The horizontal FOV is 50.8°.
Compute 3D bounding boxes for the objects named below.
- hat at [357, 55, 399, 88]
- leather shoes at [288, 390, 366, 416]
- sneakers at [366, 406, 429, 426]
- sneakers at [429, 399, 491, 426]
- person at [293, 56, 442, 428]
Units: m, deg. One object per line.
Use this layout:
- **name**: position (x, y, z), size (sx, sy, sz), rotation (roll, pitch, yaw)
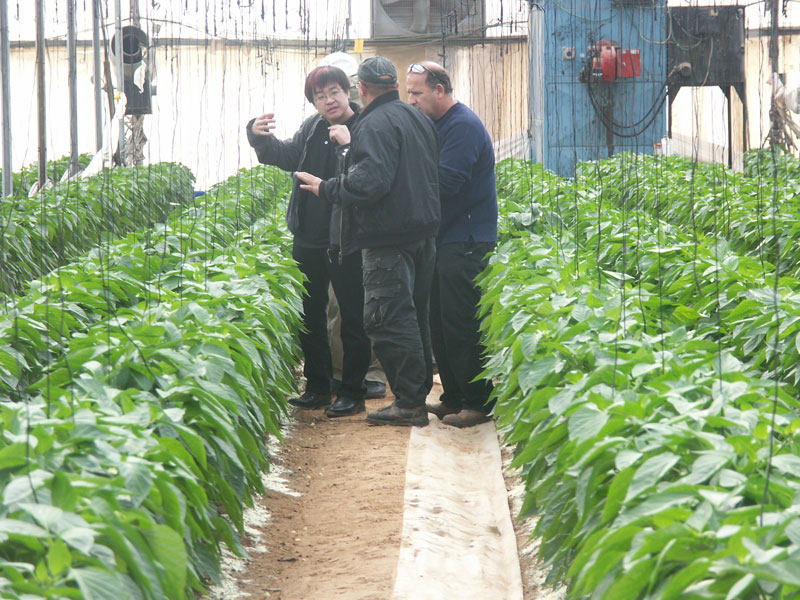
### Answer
- **hat**: position (-0.143, -1.410, 5.196), size (0.244, 0.178, 0.193), rotation (0, 12, -4)
- **leather shoes**: position (-0.505, 0.641, 5.739), size (0.499, 0.192, 0.203), rotation (4, 1, 13)
- **sneakers**: position (-0.009, 0.745, 5.377), size (0.354, 0.180, 0.151), rotation (3, 3, 4)
- **sneakers**: position (0.380, 0.754, 5.585), size (0.419, 0.210, 0.147), rotation (-9, 3, 2)
- **person**: position (-0.083, -0.332, 5.241), size (0.640, 2.279, 0.412), rotation (0, 11, -2)
